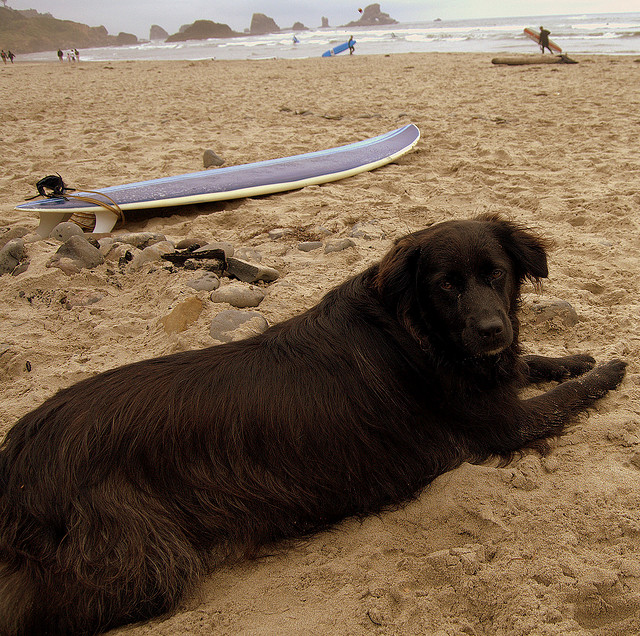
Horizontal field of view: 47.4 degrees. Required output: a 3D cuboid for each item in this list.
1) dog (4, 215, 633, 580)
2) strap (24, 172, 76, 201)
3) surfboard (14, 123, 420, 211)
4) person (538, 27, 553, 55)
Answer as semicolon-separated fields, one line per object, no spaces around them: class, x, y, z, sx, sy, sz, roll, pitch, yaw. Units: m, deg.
dog;0.385;0.194;3.630;3.866;1.089;0.988;-18;18;-13
strap;-2.300;-1.142;6.306;0.332;0.197;0.405;-9;19;-17
surfboard;-1.055;-1.567;7.594;4.867;0.357;0.810;-14;23;-26
person;5.847;-7.244;18.888;0.282;0.699;1.603;2;18;16
